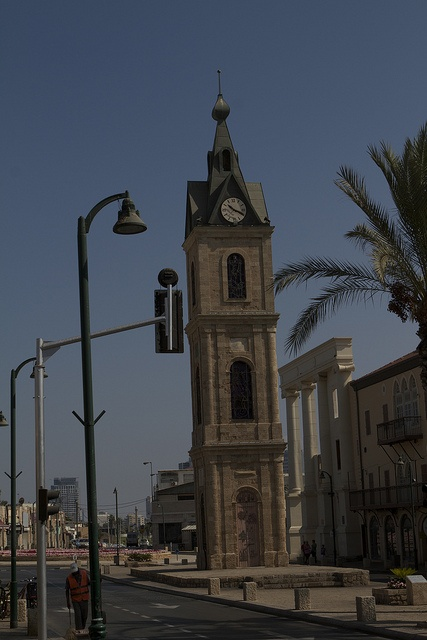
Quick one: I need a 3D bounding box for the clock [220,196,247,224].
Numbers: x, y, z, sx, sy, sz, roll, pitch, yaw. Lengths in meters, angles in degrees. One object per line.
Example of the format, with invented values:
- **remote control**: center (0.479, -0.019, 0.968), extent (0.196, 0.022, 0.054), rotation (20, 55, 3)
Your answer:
- **clock**: center (0.975, -5.490, 49.383), extent (1.000, 1.034, 0.097), rotation (-33, -12, -9)
